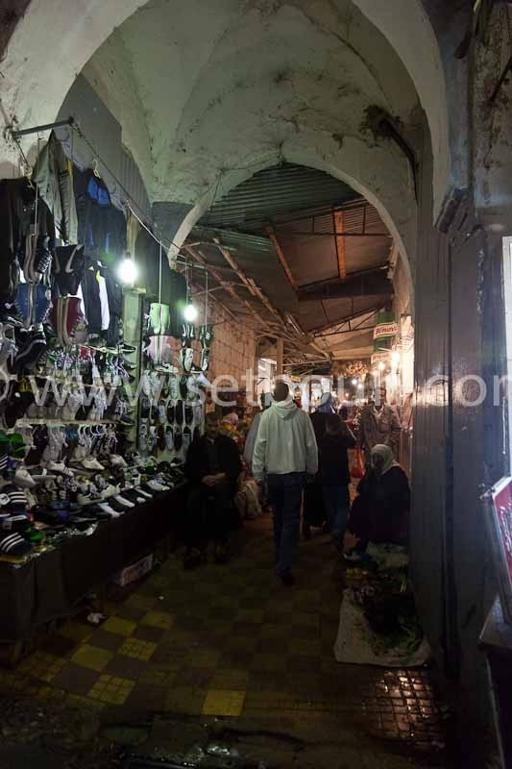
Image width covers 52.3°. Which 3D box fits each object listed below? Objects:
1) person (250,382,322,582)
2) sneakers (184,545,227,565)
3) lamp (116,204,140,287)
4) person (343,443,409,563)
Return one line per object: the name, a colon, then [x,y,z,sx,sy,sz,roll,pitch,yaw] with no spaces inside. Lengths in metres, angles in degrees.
person: [0.205,0.693,4.005,0.376,1.446,0.435,0,-2,33]
sneakers: [-0.430,1.397,4.261,0.246,0.085,0.153,4,-10,-20]
lamp: [-0.928,-1.001,3.834,0.093,0.391,0.096,22,37,-4]
person: [0.975,0.926,4.140,0.491,0.862,0.735,2,-2,-40]
